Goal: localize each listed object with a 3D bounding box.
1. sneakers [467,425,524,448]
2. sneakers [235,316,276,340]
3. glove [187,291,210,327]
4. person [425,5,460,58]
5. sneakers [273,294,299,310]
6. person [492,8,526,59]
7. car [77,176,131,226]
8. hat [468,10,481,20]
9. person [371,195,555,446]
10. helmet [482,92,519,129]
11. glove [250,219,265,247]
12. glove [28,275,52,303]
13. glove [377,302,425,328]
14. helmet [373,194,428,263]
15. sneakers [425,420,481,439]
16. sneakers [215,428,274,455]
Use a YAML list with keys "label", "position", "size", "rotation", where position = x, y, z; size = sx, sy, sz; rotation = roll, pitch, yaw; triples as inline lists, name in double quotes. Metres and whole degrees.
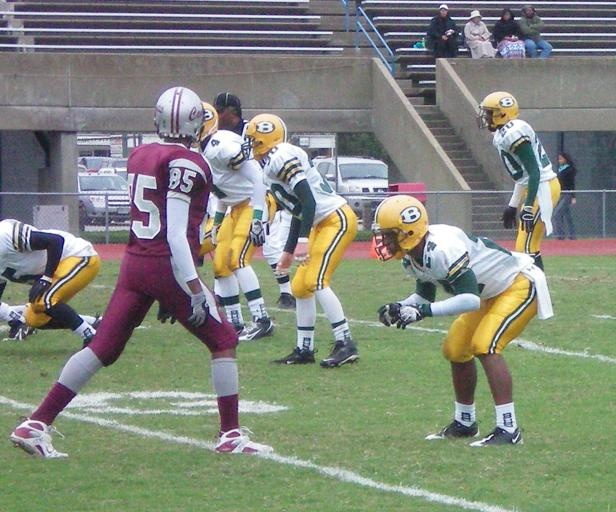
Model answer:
- label: "sneakers"
  position: [1.642, 1.581, 11.907]
  size: [0.479, 0.186, 0.176]
  rotation: [0, -7, -3]
- label: "sneakers"
  position: [-0.609, 0.793, 14.772]
  size: [0.476, 0.221, 0.157]
  rotation: [-19, 17, -33]
- label: "glove"
  position: [-0.924, 0.439, 11.431]
  size: [0.184, 0.266, 0.103]
  rotation: [-5, -7, 29]
- label: "person"
  position: [2.659, -4.411, 26.750]
  size: [0.634, 1.158, 1.532]
  rotation: [1, 15, 5]
- label: "sneakers"
  position: [-0.258, 0.544, 16.186]
  size: [0.214, 0.288, 0.636]
  rotation: [-1, -3, 3]
- label: "person"
  position: [3.996, -4.410, 26.722]
  size: [0.645, 0.955, 0.840]
  rotation: [0, 15, -1]
- label: "car"
  position: [-3.774, -1.136, 24.755]
  size: [1.019, 1.044, 1.965]
  rotation: [-1, 0, -22]
- label: "hat"
  position: [3.326, -4.810, 26.868]
  size: [0.362, 0.199, 0.354]
  rotation: [-1, 3, 9]
- label: "person"
  position: [1.354, 0.551, 11.913]
  size: [1.547, 2.075, 0.740]
  rotation: [2, 15, 6]
- label: "helmet"
  position: [2.180, -1.690, 15.644]
  size: [0.468, 0.408, 0.382]
  rotation: [2, 7, 5]
- label: "glove"
  position: [-0.524, -0.249, 14.349]
  size: [0.165, 0.249, 0.104]
  rotation: [1, 13, 28]
- label: "glove"
  position: [-2.606, 0.317, 13.195]
  size: [0.155, 0.266, 0.120]
  rotation: [41, -7, 40]
- label: "glove"
  position: [0.807, 0.522, 11.701]
  size: [0.371, 0.216, 0.246]
  rotation: [-3, 15, -12]
- label: "helmet"
  position: [0.807, -0.267, 12.024]
  size: [0.538, 0.587, 0.473]
  rotation: [-2, 5, -2]
- label: "sneakers"
  position: [1.302, 1.528, 12.074]
  size: [0.492, 0.197, 0.170]
  rotation: [0, -5, -8]
- label: "sneakers"
  position: [-0.582, 1.605, 11.777]
  size: [0.583, 0.263, 0.201]
  rotation: [2, -3, -1]
